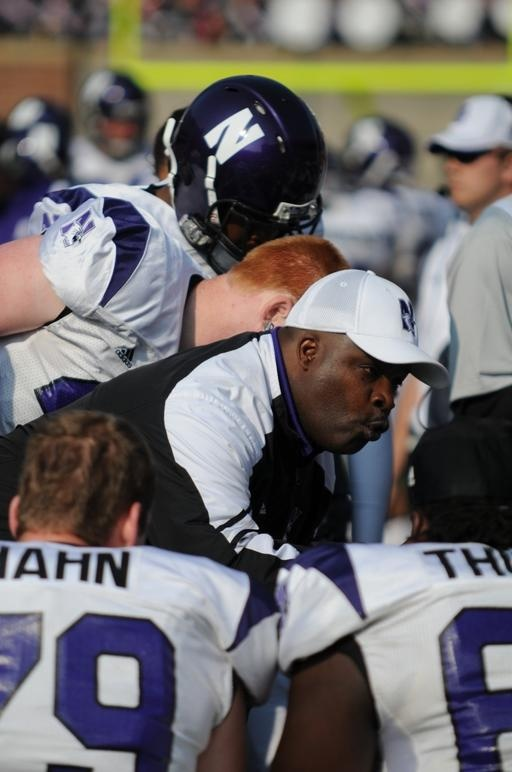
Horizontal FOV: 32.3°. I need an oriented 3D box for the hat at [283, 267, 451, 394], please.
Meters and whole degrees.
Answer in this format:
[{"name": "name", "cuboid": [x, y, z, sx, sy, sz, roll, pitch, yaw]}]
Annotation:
[{"name": "hat", "cuboid": [0.278, -0.152, 2.192, 0.365, 0.184, 0.234, 27, -1, 20]}]
